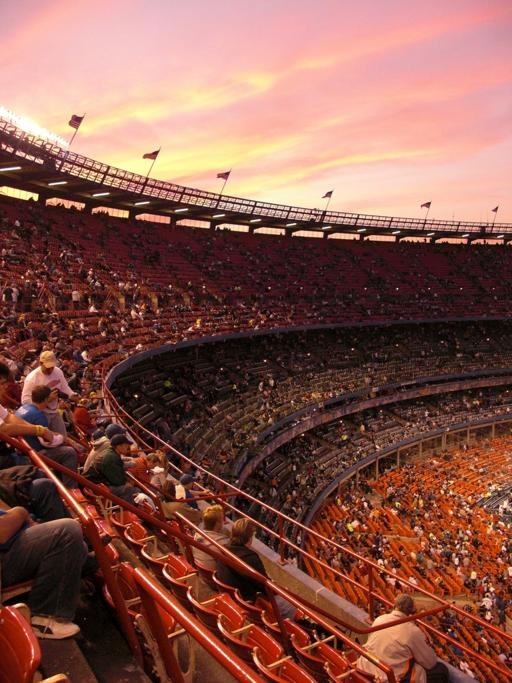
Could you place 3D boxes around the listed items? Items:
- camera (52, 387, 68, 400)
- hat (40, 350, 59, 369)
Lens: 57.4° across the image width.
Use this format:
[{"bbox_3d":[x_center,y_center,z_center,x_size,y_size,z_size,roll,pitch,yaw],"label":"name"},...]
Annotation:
[{"bbox_3d":[-2.612,0.687,6.222,0.145,0.097,0.443,-33,22,-20],"label":"camera"},{"bbox_3d":[-2.638,0.226,5.926,0.242,0.129,0.178,22,15,39],"label":"hat"}]
